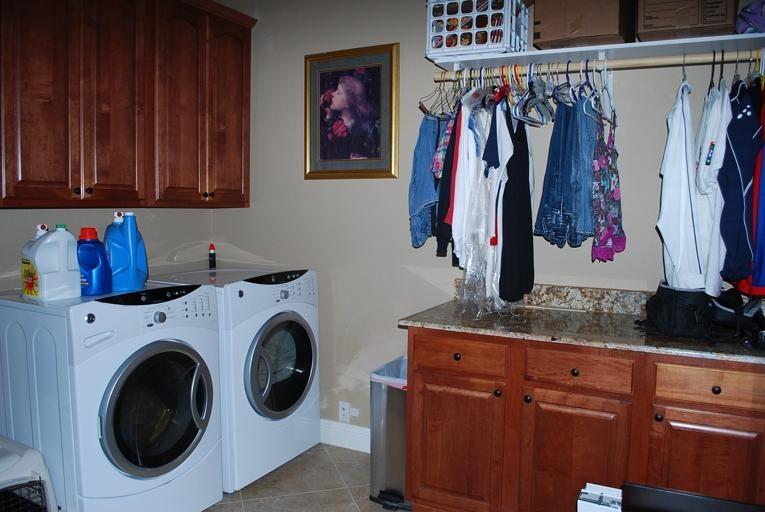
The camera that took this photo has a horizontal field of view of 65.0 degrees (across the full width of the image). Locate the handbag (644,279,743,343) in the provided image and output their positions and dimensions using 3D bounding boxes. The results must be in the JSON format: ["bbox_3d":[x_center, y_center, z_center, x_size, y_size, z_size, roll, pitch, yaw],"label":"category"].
[{"bbox_3d":[1.621,0.280,3.243,0.396,0.256,0.572,-5,14,-13],"label":"handbag"}]

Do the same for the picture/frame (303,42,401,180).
[{"bbox_3d":[-0.174,-0.993,4.021,0.867,1.039,0.073,3,6,28],"label":"picture/frame"}]

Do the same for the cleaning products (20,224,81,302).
[{"bbox_3d":[-1.759,0.031,3.181,0.317,0.378,0.187,2,8,17],"label":"cleaning products"}]

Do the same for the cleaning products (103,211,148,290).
[{"bbox_3d":[-1.503,-0.022,3.476,0.265,0.447,0.267,6,6,26],"label":"cleaning products"}]
